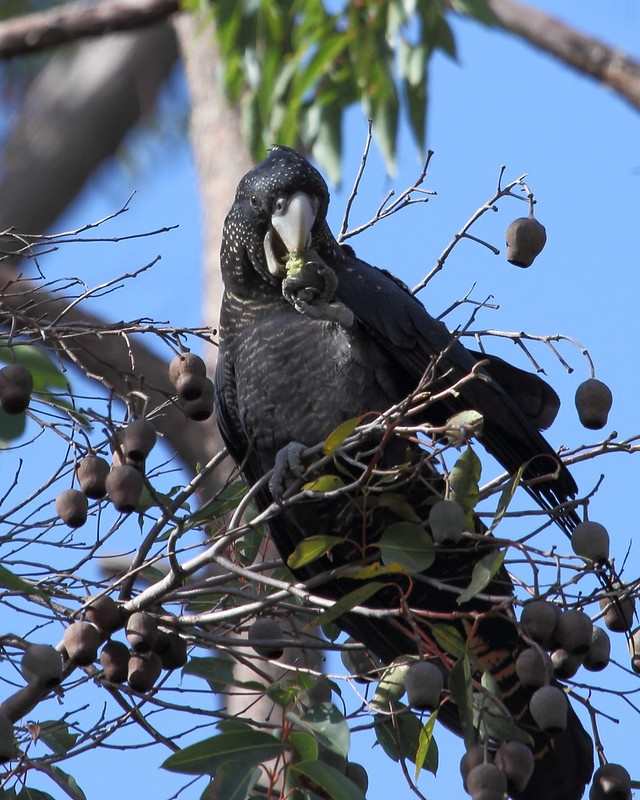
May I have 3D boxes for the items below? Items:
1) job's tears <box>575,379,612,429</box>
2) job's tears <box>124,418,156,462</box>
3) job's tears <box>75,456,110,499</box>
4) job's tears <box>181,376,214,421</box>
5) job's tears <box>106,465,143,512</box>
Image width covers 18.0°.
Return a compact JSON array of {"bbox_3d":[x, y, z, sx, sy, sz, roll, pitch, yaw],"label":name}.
[{"bbox_3d":[0.752,0.015,5.530,0.090,0.150,0.091,8,-34,-6],"label":"job's tears"},{"bbox_3d":[-0.496,0.113,5.574,0.069,0.101,0.063,20,-48,-24],"label":"job's tears"},{"bbox_3d":[-0.642,0.215,5.739,0.102,0.095,0.118,24,-13,-6],"label":"job's tears"},{"bbox_3d":[-0.357,-0.006,5.904,0.070,0.071,0.086,51,-15,46],"label":"job's tears"},{"bbox_3d":[-0.549,0.251,5.667,0.110,0.107,0.176,24,-13,-5],"label":"job's tears"}]
